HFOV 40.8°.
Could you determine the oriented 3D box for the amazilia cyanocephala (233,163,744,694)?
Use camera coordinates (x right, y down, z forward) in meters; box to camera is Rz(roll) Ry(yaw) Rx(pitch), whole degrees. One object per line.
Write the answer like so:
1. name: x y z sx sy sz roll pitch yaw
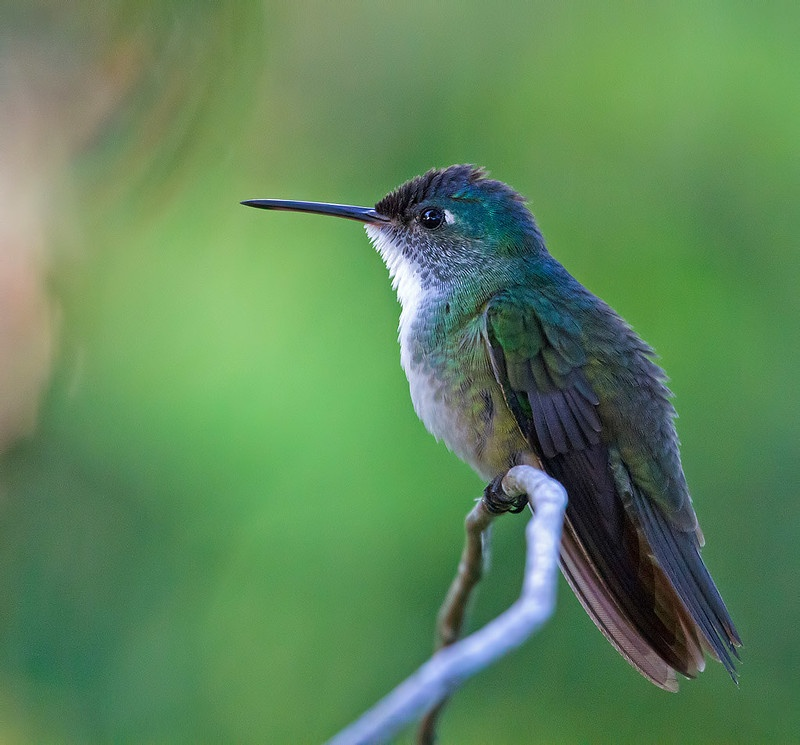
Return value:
1. amazilia cyanocephala: 0.302 0.086 2.347 0.766 1.169 0.253 3 -27 -14
